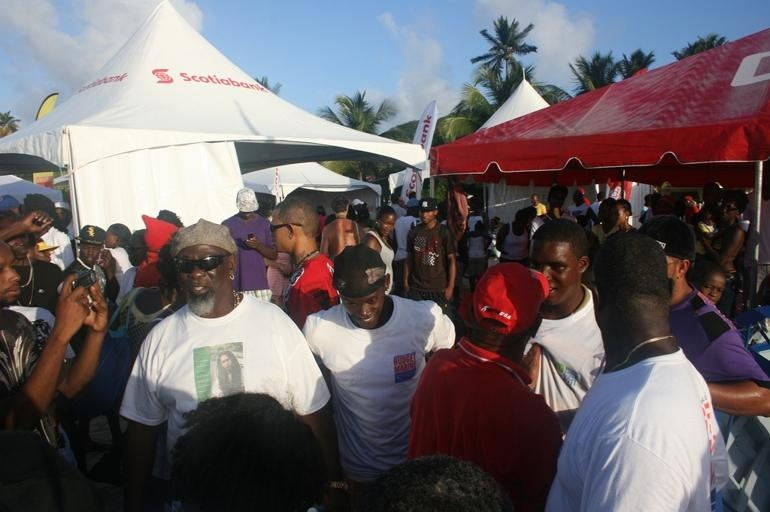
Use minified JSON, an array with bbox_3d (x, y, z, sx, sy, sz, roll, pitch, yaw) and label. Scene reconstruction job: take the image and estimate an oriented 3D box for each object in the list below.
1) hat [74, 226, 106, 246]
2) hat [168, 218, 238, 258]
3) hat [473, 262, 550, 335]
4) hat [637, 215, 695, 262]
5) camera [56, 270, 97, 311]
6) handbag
[{"bbox_3d":[-3.096,-0.222,6.284,0.254,0.157,0.195,7,-15,44],"label":"hat"},{"bbox_3d":[-1.346,-0.132,4.451,0.343,0.199,0.350,-6,14,-25],"label":"hat"},{"bbox_3d":[0.764,0.214,3.571,0.334,0.274,0.469,23,57,31],"label":"hat"},{"bbox_3d":[2.057,-0.110,4.353,0.318,0.287,0.452,1,31,15],"label":"hat"},{"bbox_3d":[-2.017,0.203,3.923,0.208,0.223,0.244,-2,7,-28],"label":"camera"},{"bbox_3d":[-2.136,0.795,4.518,0.258,0.769,0.536,9,-10,28],"label":"handbag"}]
